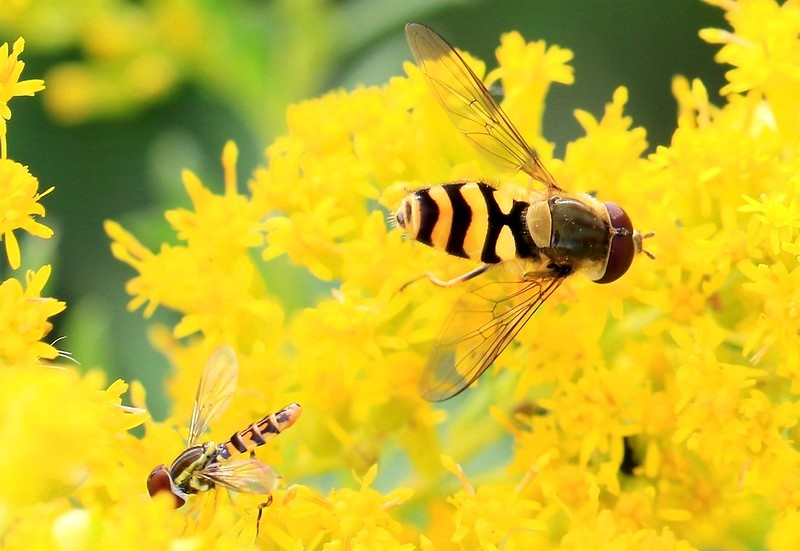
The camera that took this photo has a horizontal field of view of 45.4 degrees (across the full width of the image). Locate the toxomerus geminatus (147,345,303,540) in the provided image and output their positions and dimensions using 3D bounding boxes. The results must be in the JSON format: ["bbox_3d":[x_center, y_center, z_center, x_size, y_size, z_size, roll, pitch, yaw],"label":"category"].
[{"bbox_3d":[-0.350,0.349,1.815,0.353,0.143,0.280,-25,44,-15],"label":"toxomerus geminatus"}]
